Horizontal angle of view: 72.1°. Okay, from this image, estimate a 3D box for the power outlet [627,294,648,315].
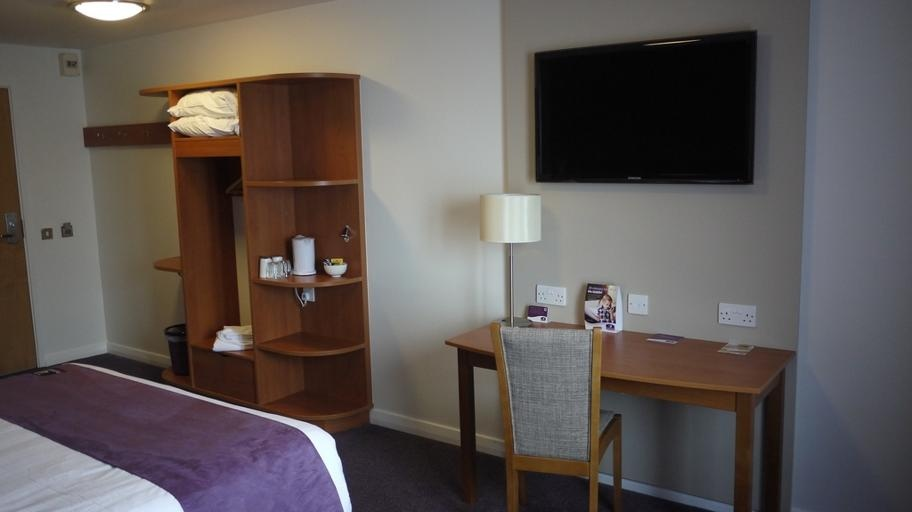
[{"bbox_3d":[1.324,0.345,4.530,0.158,0.147,0.026,1,2,32],"label":"power outlet"}]

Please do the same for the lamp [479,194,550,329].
[{"bbox_3d":[0.451,0.024,4.682,0.383,0.976,0.427,2,10,29],"label":"lamp"}]

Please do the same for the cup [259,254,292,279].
[{"bbox_3d":[-1.582,0.113,5.494,0.253,0.169,0.171,1,3,6],"label":"cup"}]

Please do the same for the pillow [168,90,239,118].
[{"bbox_3d":[-2.185,-1.312,5.470,0.396,0.113,0.355,-6,26,1],"label":"pillow"}]

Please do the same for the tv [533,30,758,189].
[{"bbox_3d":[1.385,-1.031,4.361,1.278,0.748,0.090,2,6,25],"label":"tv"}]

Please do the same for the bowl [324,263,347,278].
[{"bbox_3d":[-1.020,0.119,5.402,0.143,0.081,0.142,-1,2,0],"label":"bowl"}]

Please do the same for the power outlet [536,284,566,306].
[{"bbox_3d":[0.738,0.294,4.771,0.173,0.103,0.021,4,7,30],"label":"power outlet"}]
